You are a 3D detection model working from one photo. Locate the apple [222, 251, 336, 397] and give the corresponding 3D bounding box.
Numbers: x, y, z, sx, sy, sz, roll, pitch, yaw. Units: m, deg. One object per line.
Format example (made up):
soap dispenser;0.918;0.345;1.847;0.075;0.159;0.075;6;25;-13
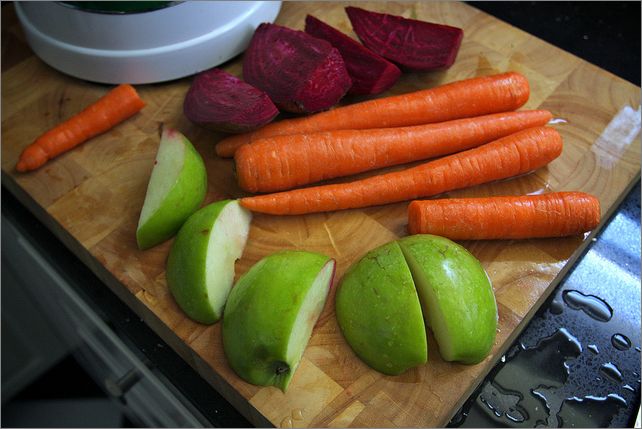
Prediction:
apple;-0.160;0.306;1.850;0.315;0.241;0.455;17;58;6
